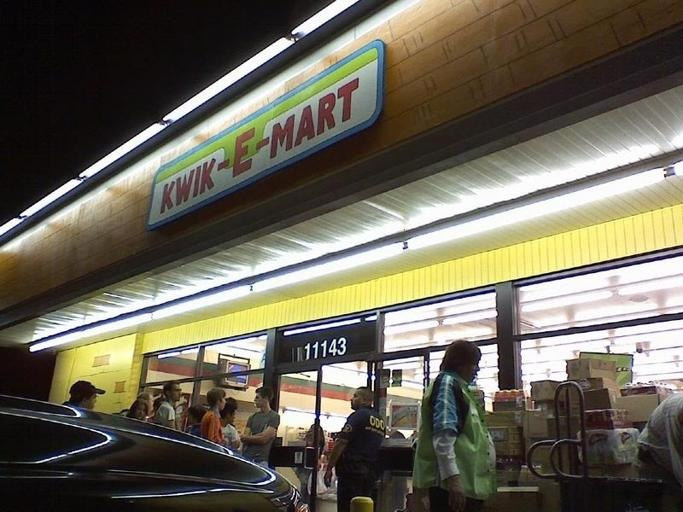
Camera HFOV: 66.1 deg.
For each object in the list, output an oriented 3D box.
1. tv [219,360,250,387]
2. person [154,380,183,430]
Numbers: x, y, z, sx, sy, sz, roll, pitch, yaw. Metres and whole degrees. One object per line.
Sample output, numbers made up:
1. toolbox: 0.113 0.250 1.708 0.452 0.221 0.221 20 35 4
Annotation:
1. tv: -2.115 2.286 10.321 0.645 0.542 0.362 5 -20 -15
2. person: -2.231 2.018 6.836 0.321 0.759 0.398 -4 -7 -11
